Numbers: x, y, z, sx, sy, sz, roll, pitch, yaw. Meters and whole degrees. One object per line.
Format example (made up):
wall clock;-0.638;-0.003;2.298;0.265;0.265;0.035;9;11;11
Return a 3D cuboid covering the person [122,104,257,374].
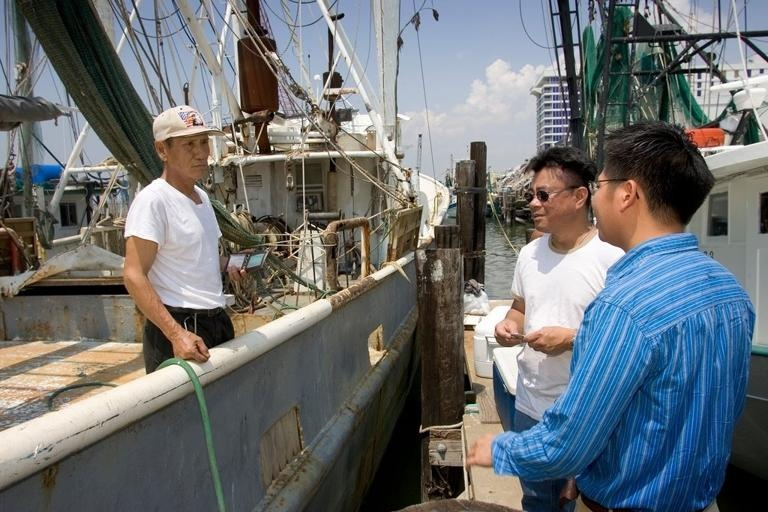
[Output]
person;-1.283;-0.107;3.755;0.621;1.649;0.841;-4;6;1
